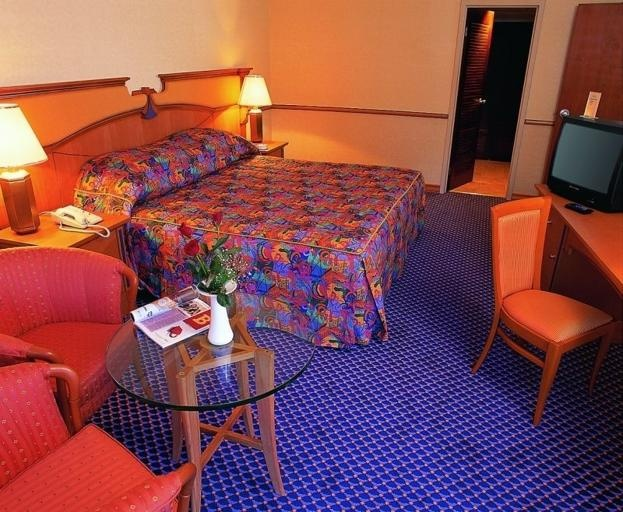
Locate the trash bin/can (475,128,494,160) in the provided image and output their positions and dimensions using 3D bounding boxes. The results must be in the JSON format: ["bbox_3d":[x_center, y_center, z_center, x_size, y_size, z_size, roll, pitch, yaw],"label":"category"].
[{"bbox_3d":[3.206,-2.091,8.112,0.192,0.511,0.307,-1,30,-2],"label":"trash bin/can"}]

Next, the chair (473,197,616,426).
[{"bbox_3d":[1.368,0.299,2.596,0.579,1.133,0.687,-15,33,-24],"label":"chair"}]

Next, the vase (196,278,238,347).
[{"bbox_3d":[-0.429,0.263,1.976,0.189,0.280,0.197,13,27,27],"label":"vase"}]

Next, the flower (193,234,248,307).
[{"bbox_3d":[-0.402,0.098,1.920,0.172,0.346,0.229,8,31,14],"label":"flower"}]

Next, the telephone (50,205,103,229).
[{"bbox_3d":[-1.634,-0.273,2.983,0.238,0.081,0.178,8,28,9],"label":"telephone"}]

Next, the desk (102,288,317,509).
[{"bbox_3d":[-0.450,0.622,2.260,0.977,0.853,0.953,-19,36,-32],"label":"desk"}]
